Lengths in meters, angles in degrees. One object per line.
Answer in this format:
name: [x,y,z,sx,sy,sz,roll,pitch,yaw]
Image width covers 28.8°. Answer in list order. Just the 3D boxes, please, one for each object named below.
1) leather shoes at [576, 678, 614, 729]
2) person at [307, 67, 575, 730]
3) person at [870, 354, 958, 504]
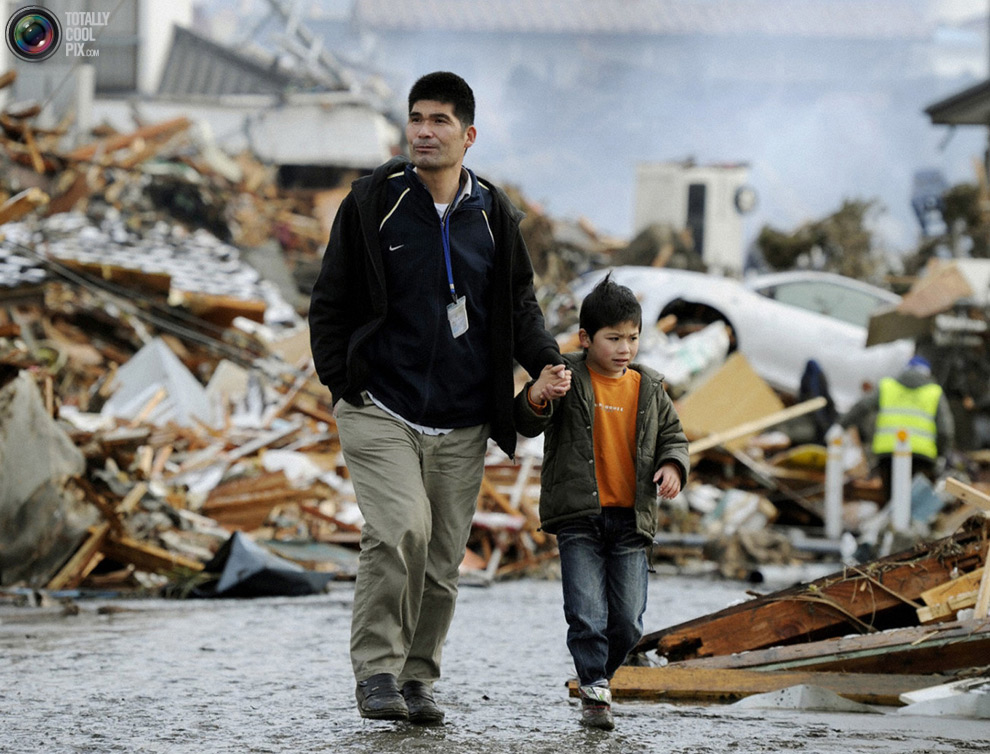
leather shoes: [0.606,1.921,11.389,0.201,0.270,0.221,0,12,2]
person: [-0.372,0.108,11.392,1.256,3.752,0.856,-6,13,-26]
person: [3.987,0.428,18.320,0.743,1.578,2.593,2,12,13]
